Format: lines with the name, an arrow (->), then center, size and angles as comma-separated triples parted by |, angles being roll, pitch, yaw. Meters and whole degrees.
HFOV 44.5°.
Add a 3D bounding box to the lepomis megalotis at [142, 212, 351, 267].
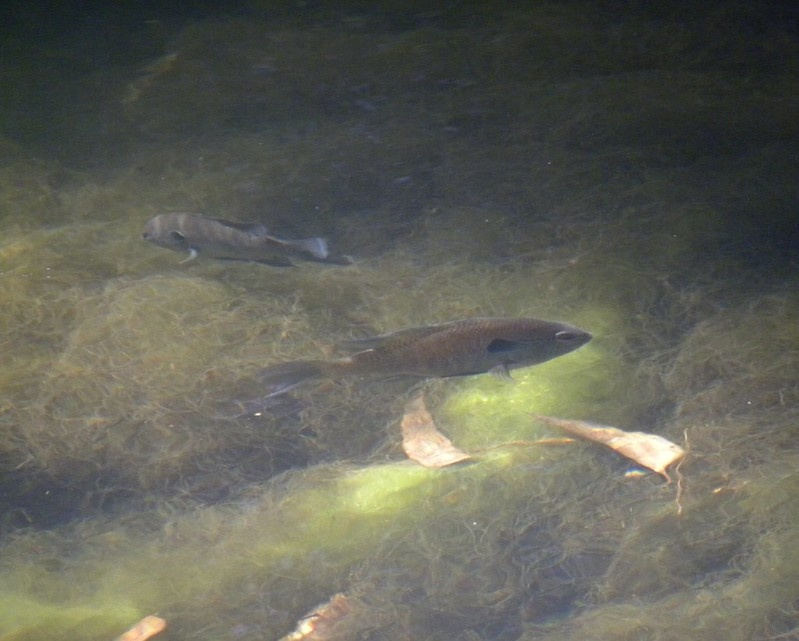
lepomis megalotis -> -1.482, -0.726, 8.889 | 1.898, 0.396, 0.242 | 4, 55, -3
